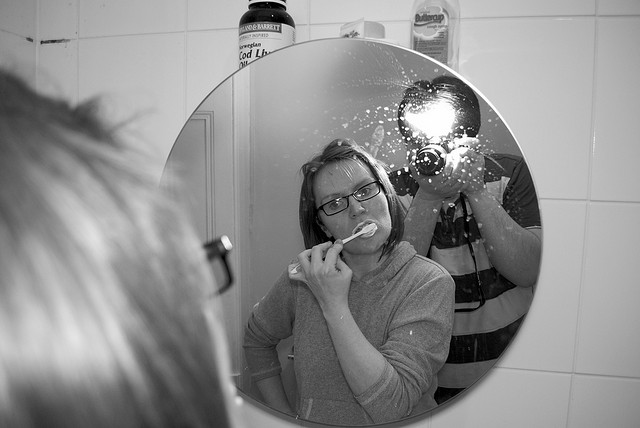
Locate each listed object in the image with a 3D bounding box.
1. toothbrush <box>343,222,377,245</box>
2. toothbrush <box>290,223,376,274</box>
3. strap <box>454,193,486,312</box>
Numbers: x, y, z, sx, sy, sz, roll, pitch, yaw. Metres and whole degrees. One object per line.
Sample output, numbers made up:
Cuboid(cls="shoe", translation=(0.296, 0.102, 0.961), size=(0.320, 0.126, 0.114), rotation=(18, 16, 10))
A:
Cuboid(cls="toothbrush", translation=(0.075, 0.034, 1.034), size=(0.063, 0.014, 0.007), rotation=(-35, 7, -1))
Cuboid(cls="toothbrush", translation=(0.032, 0.065, 1.046), size=(0.135, 0.021, 0.017), rotation=(-39, -5, 11))
Cuboid(cls="strap", translation=(0.280, 0.069, 1.037), size=(0.058, 0.223, 0.015), rotation=(-8, 2, 12))
